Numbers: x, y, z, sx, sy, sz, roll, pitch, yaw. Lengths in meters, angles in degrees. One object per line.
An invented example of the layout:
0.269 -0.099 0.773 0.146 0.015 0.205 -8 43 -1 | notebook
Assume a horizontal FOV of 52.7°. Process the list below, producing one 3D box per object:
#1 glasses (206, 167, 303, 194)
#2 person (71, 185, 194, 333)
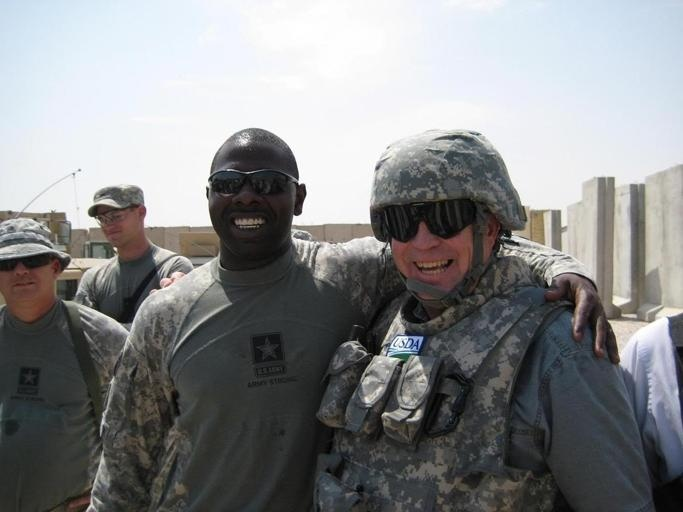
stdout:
-0.485 -0.408 3.813 0.487 0.137 0.141 -4 1 -9 | glasses
-1.943 0.105 6.226 0.994 1.369 0.762 -17 -22 21 | person
